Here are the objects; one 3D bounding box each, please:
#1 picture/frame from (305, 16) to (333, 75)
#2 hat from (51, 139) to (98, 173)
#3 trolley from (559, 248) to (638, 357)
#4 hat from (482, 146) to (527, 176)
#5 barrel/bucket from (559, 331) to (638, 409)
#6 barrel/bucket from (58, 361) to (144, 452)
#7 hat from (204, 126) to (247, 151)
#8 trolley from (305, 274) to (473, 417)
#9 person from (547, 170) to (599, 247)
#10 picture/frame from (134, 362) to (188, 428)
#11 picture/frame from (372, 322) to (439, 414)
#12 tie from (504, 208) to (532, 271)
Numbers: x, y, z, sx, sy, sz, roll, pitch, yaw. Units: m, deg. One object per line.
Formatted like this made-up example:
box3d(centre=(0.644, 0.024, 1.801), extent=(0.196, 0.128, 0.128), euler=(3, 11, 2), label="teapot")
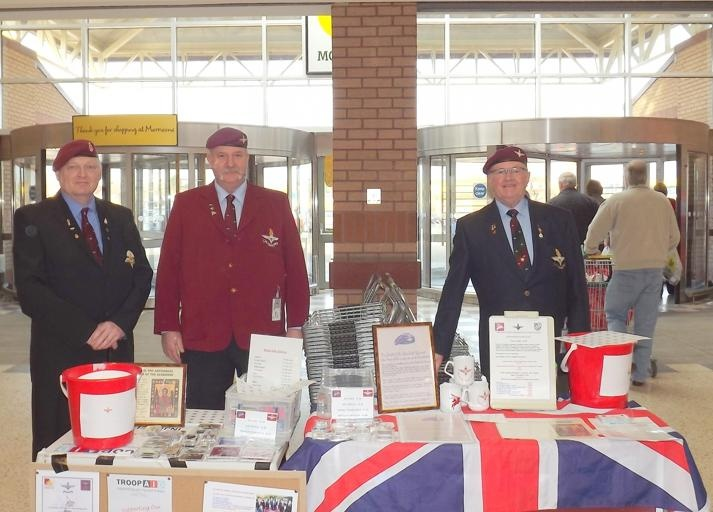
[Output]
box3d(centre=(-0.531, -2.960, 11.093), extent=(0.350, 0.804, 0.471), euler=(-2, 3, -6), label="picture/frame")
box3d(centre=(-1.830, -0.664, 5.198), extent=(0.270, 0.207, 0.192), euler=(-3, 4, -21), label="hat")
box3d(centre=(2.376, 0.364, 7.843), extent=(0.684, 1.201, 1.165), euler=(-1, 5, 7), label="trolley")
box3d(centre=(0.945, -0.623, 5.124), extent=(0.178, 0.104, 0.211), euler=(-12, 2, -6), label="hat")
box3d(centre=(1.427, 0.675, 4.855), extent=(0.433, 0.371, 0.488), euler=(-1, 3, -3), label="barrel/bucket")
box3d(centre=(-1.472, 0.874, 4.635), extent=(0.453, 0.422, 0.483), euler=(1, 2, 0), label="barrel/bucket")
box3d(centre=(-0.817, -0.762, 5.099), extent=(0.184, 0.076, 0.156), euler=(-6, 15, -26), label="hat")
box3d(centre=(0.256, 0.552, 5.475), extent=(1.179, 0.519, 0.684), euler=(-5, 12, -3), label="trolley")
box3d(centre=(2.580, -0.246, 9.587), extent=(0.597, 1.493, 0.470), euler=(-1, 4, 7), label="person")
box3d(centre=(-1.146, 0.816, 4.658), extent=(0.349, 0.367, 0.036), euler=(2, 4, -4), label="picture/frame")
box3d(centre=(0.286, 0.669, 4.718), extent=(0.460, 0.630, 0.061), euler=(-6, -2, -9), label="picture/frame")
box3d(centre=(1.028, -0.108, 5.227), extent=(0.172, 0.038, 0.664), euler=(-9, -40, 9), label="tie")
